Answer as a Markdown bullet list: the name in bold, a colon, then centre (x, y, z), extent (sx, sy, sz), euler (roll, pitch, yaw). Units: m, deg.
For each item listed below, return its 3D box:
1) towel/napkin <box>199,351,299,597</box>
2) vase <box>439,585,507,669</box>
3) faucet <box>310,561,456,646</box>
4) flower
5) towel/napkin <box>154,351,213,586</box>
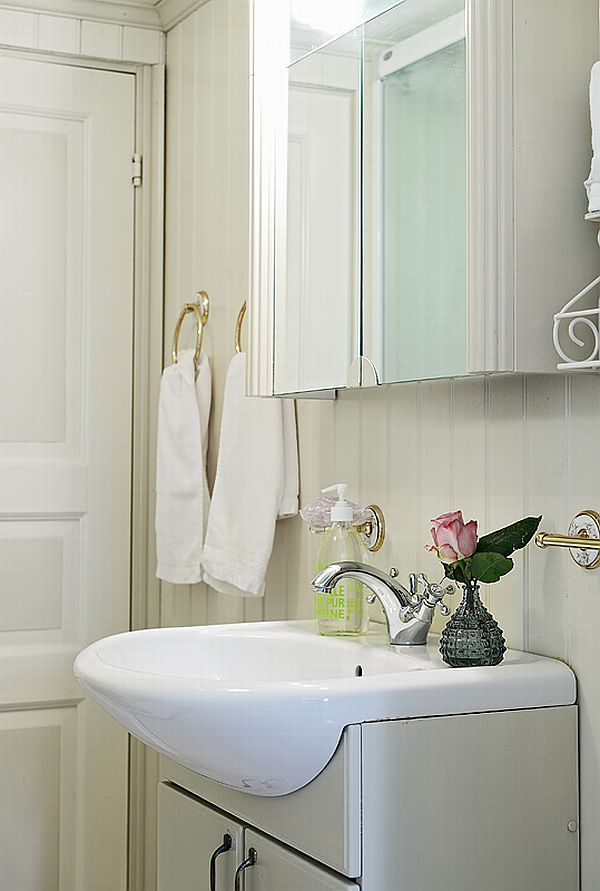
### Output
- **towel/napkin**: centre (-0.090, 0.047, 1.419), extent (0.127, 0.416, 0.216), euler (-1, -4, -36)
- **vase**: centre (0.168, 0.180, 0.837), extent (0.057, 0.103, 0.068), euler (3, -7, -19)
- **faucet**: centre (0.092, 0.174, 0.928), extent (0.103, 0.077, 0.110), euler (17, -17, -29)
- **flower**: centre (0.178, 0.102, 0.796), extent (0.087, 0.098, 0.096), euler (-2, 10, 12)
- **towel/napkin**: centre (-0.263, 0.035, 1.665), extent (0.147, 0.497, 0.070), euler (-3, -5, 28)
